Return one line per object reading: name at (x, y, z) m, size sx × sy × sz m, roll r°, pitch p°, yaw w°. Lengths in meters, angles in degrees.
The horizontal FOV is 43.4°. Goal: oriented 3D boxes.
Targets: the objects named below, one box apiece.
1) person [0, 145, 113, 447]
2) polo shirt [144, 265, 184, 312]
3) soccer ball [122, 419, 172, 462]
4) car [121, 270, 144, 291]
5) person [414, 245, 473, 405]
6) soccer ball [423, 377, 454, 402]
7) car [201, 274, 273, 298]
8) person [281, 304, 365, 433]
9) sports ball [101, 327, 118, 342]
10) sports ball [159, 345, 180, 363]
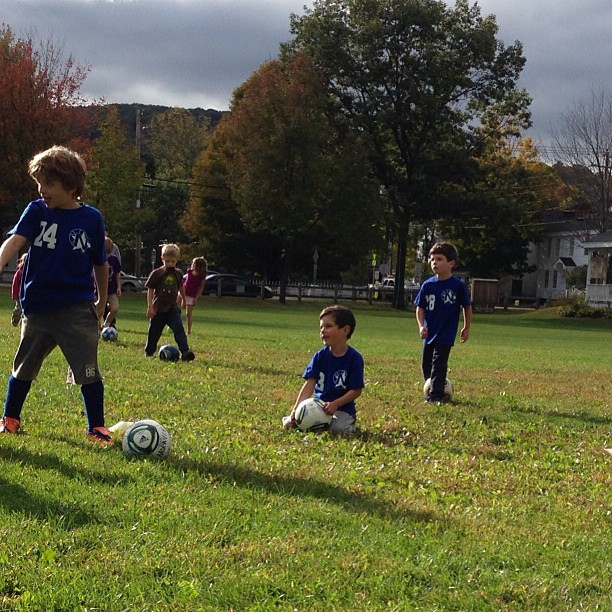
person at (-1.707, -0.065, 5.379) m, size 0.784 × 2.041 × 0.764 m, roll 4°, pitch 3°, yaw -18°
polo shirt at (-2.067, -0.270, 11.291) m, size 0.619 × 0.752 × 0.299 m, roll 3°, pitch 25°, yaw -16°
soccer ball at (-1.093, 0.897, 5.120) m, size 0.289 × 0.260 × 0.273 m, roll 35°, pitch -11°, yaw 7°
car at (-11.340, -1.549, 47.913) m, size 2.053 × 1.246 × 1.201 m, roll -3°, pitch 5°, yaw -10°
person at (1.544, 0.224, 8.760) m, size 0.630 × 1.392 × 0.669 m, roll 5°, pitch 3°, yaw 6°
soccer ball at (1.549, 1.025, 8.984) m, size 0.242 × 0.322 × 0.342 m, roll 0°, pitch 46°, yaw -3°
car at (-4.397, -1.149, 47.246) m, size 3.961 × 1.283 × 2.932 m, roll 5°, pitch 3°, yaw -13°
person at (0.136, 0.585, 6.997) m, size 0.679 × 1.171 × 0.646 m, roll 0°, pitch 6°, yaw 14°
sports ball at (-3.372, 0.473, 12.987) m, size 0.229 × 0.247 × 0.266 m, roll 6°, pitch -17°, yaw 0°
sports ball at (-2.014, 0.681, 11.128) m, size 0.210 × 0.239 × 0.226 m, roll -13°, pitch 38°, yaw 11°
